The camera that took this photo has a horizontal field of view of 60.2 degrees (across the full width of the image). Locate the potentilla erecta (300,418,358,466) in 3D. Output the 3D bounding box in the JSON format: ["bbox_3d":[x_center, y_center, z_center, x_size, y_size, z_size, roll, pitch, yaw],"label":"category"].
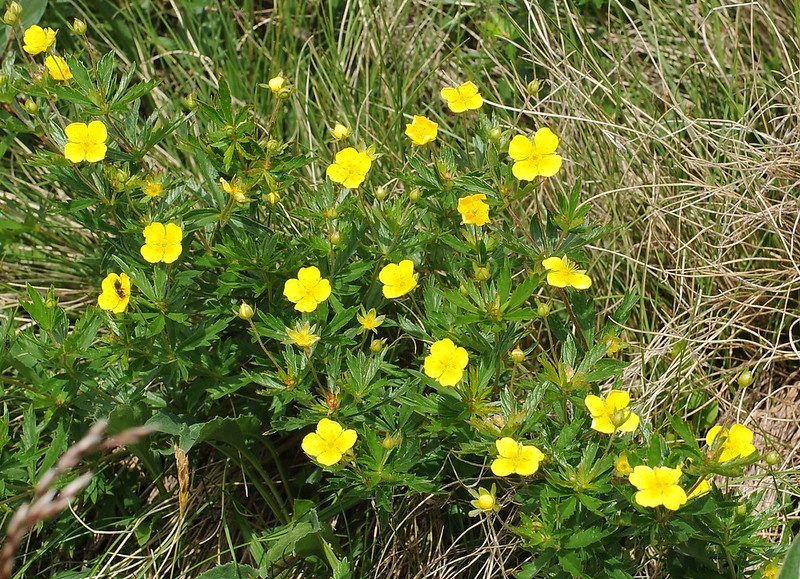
[{"bbox_3d":[-0.174,0.383,1.734,0.103,0.050,0.138,-12,79,6],"label":"potentilla erecta"}]

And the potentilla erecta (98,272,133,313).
[{"bbox_3d":[-0.740,0.006,1.806,0.077,0.058,0.098,9,80,-3],"label":"potentilla erecta"}]

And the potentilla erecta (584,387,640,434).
[{"bbox_3d":[0.521,0.292,1.695,0.108,0.065,0.114,-32,43,-30],"label":"potentilla erecta"}]

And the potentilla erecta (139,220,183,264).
[{"bbox_3d":[-0.628,-0.113,1.894,0.100,0.186,0.104,3,80,-3],"label":"potentilla erecta"}]

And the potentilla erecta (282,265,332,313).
[{"bbox_3d":[-0.240,-0.001,1.818,0.108,0.036,0.102,-37,86,-9],"label":"potentilla erecta"}]
